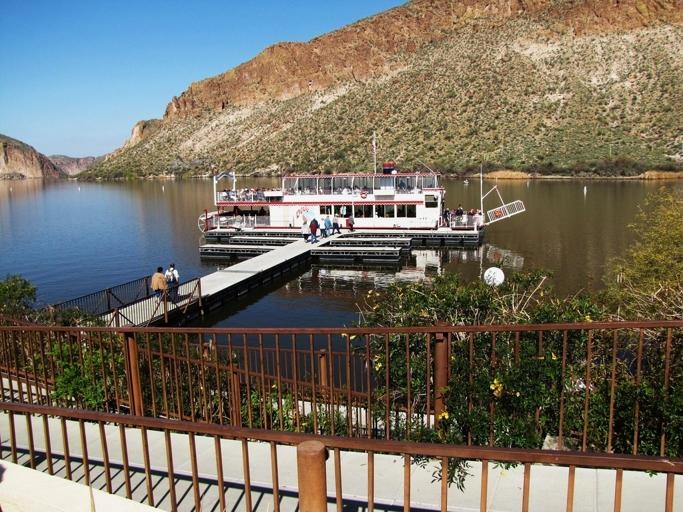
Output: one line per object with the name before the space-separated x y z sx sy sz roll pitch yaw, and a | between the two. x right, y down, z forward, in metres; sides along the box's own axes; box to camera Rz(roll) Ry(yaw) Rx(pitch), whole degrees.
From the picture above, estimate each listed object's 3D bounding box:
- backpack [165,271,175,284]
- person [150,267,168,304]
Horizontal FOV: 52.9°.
backpack | -4.735 0.605 18.707 0.241 0.385 0.205 6 22 11
person | -4.731 0.755 17.546 0.398 0.937 0.336 8 20 8
